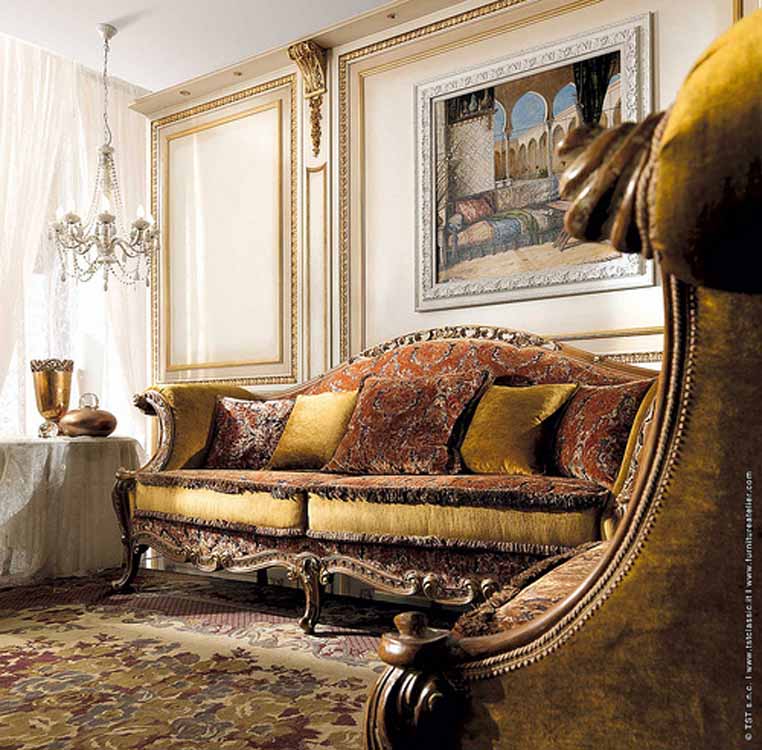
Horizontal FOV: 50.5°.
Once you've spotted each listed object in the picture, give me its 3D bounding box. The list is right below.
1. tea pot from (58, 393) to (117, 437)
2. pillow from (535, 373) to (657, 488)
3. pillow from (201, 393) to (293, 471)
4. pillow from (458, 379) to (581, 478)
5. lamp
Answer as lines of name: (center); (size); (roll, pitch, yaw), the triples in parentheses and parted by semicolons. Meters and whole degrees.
tea pot: (-1.286, 0.187, 3.581); (0.234, 0.179, 0.229); (0, -5, 0)
pillow: (0.596, 0.155, 2.268); (0.095, 0.281, 0.313); (21, -8, -17)
pillow: (-0.501, 0.215, 3.098); (0.298, 0.256, 0.083); (6, -26, 20)
pillow: (0.427, 0.179, 2.512); (0.331, 0.286, 0.099); (4, -29, 45)
lamp: (-1.336, -1.140, 4.030); (0.578, 1.106, 0.516); (1, 10, -11)
